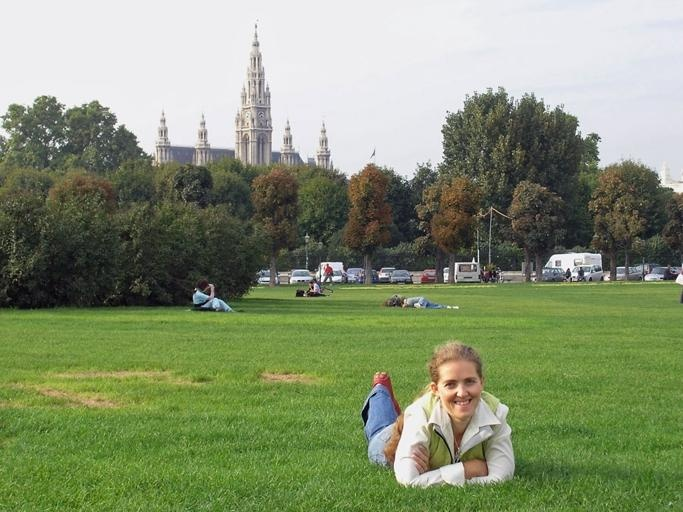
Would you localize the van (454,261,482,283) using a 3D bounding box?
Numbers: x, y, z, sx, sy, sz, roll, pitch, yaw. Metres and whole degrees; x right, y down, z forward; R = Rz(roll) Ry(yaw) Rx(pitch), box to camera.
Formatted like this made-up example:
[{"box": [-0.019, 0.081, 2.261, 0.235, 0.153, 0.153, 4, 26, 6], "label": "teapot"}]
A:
[{"box": [9.014, 0.963, 99.242, 1.857, 1.464, 1.185, 2, 13, 5], "label": "van"}]

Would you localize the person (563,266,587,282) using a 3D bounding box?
[{"box": [17.607, 1.196, 103.630, 1.333, 0.930, 0.937, 1, -1, 12], "label": "person"}]

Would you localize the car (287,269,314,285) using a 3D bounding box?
[{"box": [-3.338, 1.381, 107.995, 1.087, 1.110, 2.582, -1, -4, -11], "label": "car"}]

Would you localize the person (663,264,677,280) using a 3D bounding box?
[{"box": [23.791, 1.110, 100.153, 1.066, 1.224, 1.987, 4, 9, 24], "label": "person"}]

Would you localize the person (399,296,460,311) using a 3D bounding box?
[{"box": [3.251, 1.836, 54.785, 1.698, 0.541, 0.906, 0, 2, 21], "label": "person"}]

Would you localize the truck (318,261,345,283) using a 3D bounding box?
[{"box": [-0.846, 1.094, 111.555, 1.243, 1.278, 2.284, 0, -5, -4], "label": "truck"}]

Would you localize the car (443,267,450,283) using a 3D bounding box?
[{"box": [8.843, 1.432, 116.640, 0.874, 0.949, 1.623, 2, 9, 12], "label": "car"}]

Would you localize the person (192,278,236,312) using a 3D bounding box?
[{"box": [-4.649, 1.446, 50.382, 1.521, 1.239, 0.715, -1, 1, -12], "label": "person"}]

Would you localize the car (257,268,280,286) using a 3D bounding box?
[{"box": [-6.483, 1.868, 119.989, 1.510, 1.560, 2.726, 0, -7, -7], "label": "car"}]

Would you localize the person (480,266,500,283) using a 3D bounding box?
[{"box": [11.355, 1.231, 104.986, 1.259, 1.808, 0.878, 2, -5, -21], "label": "person"}]
